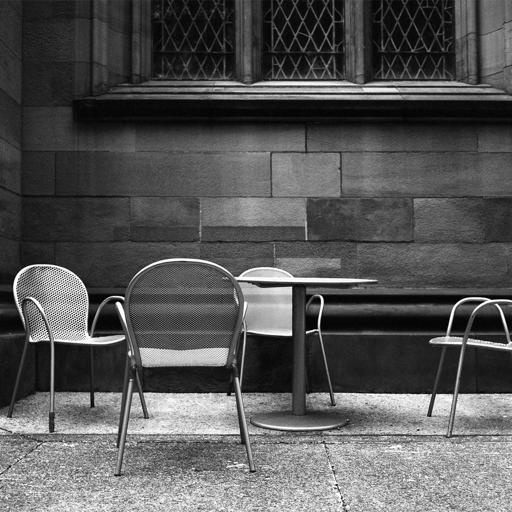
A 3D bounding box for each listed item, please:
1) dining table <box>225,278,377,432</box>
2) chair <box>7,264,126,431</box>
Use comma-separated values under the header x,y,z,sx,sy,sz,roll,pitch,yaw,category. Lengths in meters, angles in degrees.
x,y,z,sx,sy,sz,roll,pitch,yaw,category
0.276,0.631,5.196,0.857,0.910,0.891,-4,-7,32,dining table
-1.340,0.565,5.438,0.695,1.046,1.050,-4,9,-12,chair
